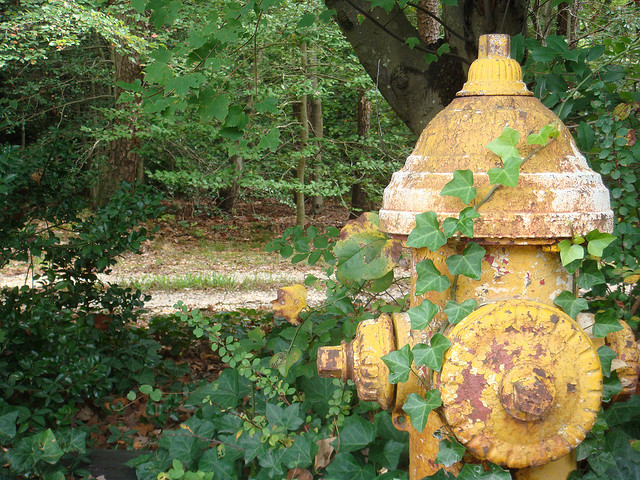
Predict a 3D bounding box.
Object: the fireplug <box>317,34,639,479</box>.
[{"bbox_3d":[0.681,0.075,2.731,1.178,1.738,0.500,0,8,0],"label":"fireplug"}]
